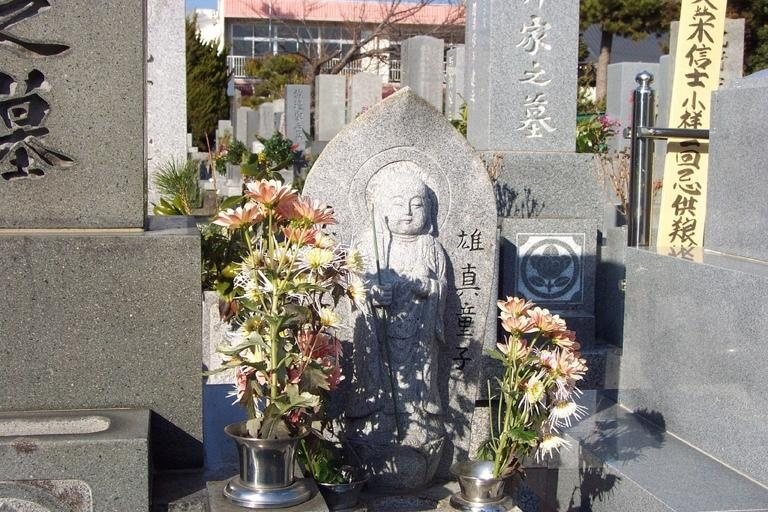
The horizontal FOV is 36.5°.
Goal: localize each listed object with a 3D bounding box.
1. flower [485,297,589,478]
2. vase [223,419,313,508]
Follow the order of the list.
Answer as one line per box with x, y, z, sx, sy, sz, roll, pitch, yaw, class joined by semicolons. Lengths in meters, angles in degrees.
0.683;0.638;5.351;0.405;0.723;0.539;4;-30;26;flower
-0.492;0.855;4.898;0.301;0.232;0.339;0;0;-6;vase
